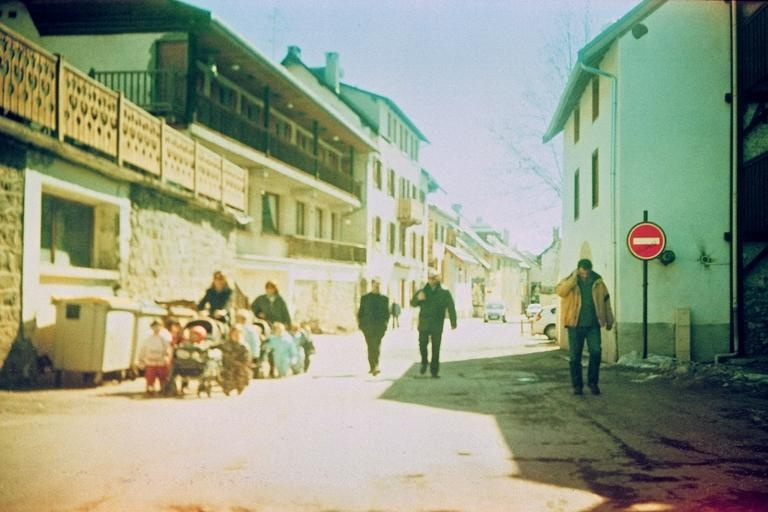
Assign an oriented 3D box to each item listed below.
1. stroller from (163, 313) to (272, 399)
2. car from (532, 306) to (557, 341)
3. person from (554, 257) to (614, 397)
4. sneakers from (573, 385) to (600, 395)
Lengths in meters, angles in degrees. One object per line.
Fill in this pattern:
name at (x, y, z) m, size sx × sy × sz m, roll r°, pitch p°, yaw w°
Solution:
stroller at (-3.494, 1.940, 15.995) m, size 1.146 × 1.596 × 0.596 m, roll 8°, pitch -6°, yaw -25°
car at (5.864, 2.342, 29.390) m, size 0.697 × 1.330 × 1.928 m, roll -1°, pitch 7°, yaw -8°
person at (3.937, 1.386, 15.998) m, size 1.032 × 2.600 × 0.851 m, roll 2°, pitch 7°, yaw 11°
sneakers at (3.940, 2.580, 15.769) m, size 0.560 × 0.263 × 0.202 m, roll -4°, pitch -2°, yaw 18°
